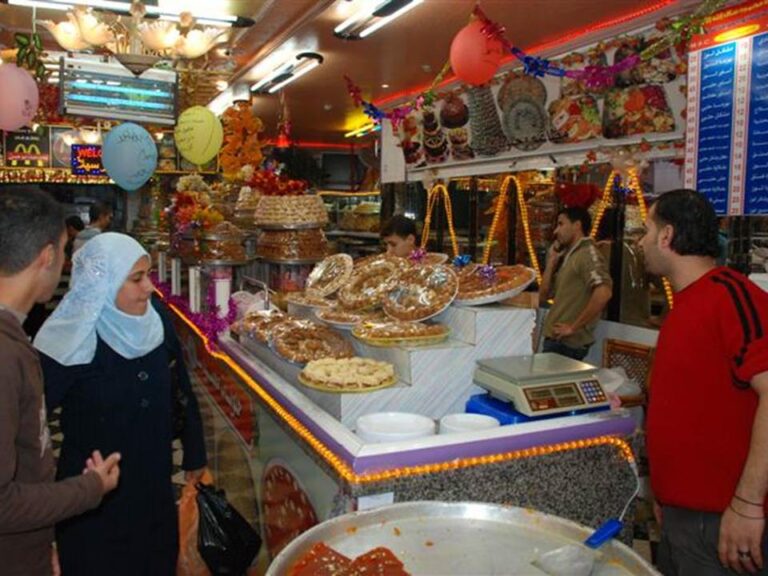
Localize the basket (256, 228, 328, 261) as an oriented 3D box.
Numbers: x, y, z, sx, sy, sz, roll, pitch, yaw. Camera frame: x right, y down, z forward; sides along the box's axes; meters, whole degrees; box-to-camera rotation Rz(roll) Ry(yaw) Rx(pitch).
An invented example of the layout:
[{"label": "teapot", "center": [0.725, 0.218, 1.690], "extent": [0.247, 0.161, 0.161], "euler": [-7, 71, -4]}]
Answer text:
[{"label": "basket", "center": [-0.863, -0.395, 4.848], "extent": [0.438, 0.181, 0.403], "euler": [2, 4, 22]}]

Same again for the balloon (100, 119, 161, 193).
[{"label": "balloon", "center": [-2.664, -1.384, 5.668], "extent": [0.596, 0.665, 0.576], "euler": [0, 3, -20]}]

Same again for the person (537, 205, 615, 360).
[{"label": "person", "center": [1.617, -0.043, 4.415], "extent": [0.492, 1.266, 0.619], "euler": [0, 9, 7]}]

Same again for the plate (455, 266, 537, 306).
[{"label": "plate", "center": [0.580, -0.024, 2.787], "extent": [0.409, 0.183, 0.431], "euler": [2, 8, 22]}]

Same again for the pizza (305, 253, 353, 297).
[{"label": "pizza", "center": [-0.357, -0.094, 3.709], "extent": [0.350, 0.088, 0.323], "euler": [-19, 37, 35]}]

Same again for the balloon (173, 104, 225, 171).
[{"label": "balloon", "center": [-2.085, -1.728, 6.101], "extent": [0.562, 0.639, 0.536], "euler": [10, 13, 8]}]

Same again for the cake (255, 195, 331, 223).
[{"label": "cake", "center": [-0.852, -0.710, 4.837], "extent": [0.656, 0.287, 0.377], "euler": [-2, 8, -9]}]

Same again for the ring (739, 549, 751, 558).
[{"label": "ring", "center": [1.140, 0.834, 1.661], "extent": [0.025, 0.013, 0.023], "euler": [-1, -1, 0]}]

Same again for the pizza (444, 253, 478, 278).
[{"label": "pizza", "center": [0.468, -0.094, 3.098], "extent": [0.216, 0.078, 0.197], "euler": [-3, 24, 2]}]

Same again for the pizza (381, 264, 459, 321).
[{"label": "pizza", "center": [0.181, 0.019, 2.810], "extent": [0.347, 0.259, 0.467], "euler": [-2, 8, -8]}]

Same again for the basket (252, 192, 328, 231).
[{"label": "basket", "center": [-0.855, -0.707, 4.839], "extent": [0.658, 0.321, 0.380], "euler": [-2, 8, -8]}]

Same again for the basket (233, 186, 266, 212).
[{"label": "basket", "center": [-1.506, -0.989, 5.939], "extent": [0.373, 0.324, 0.363], "euler": [1, 3, -8]}]

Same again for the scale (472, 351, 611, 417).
[{"label": "scale", "center": [0.670, 0.408, 2.296], "extent": [0.477, 0.181, 0.371], "euler": [-4, 8, -22]}]

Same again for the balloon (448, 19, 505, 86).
[{"label": "balloon", "center": [0.652, -1.689, 3.715], "extent": [0.344, 0.399, 0.330], "euler": [1, 9, 12]}]

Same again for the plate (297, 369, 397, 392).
[{"label": "plate", "center": [-0.169, 0.424, 2.353], "extent": [0.452, 0.050, 0.200], "euler": [0, 8, 4]}]

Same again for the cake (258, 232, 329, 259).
[{"label": "cake", "center": [-0.854, -0.396, 4.827], "extent": [0.407, 0.168, 0.369], "euler": [1, 5, 9]}]

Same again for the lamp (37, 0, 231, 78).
[{"label": "lamp", "center": [-2.473, -2.500, 5.260], "extent": [1.201, 0.474, 1.107], "euler": [2, 9, 1]}]

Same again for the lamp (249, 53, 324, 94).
[{"label": "lamp", "center": [-1.304, -2.856, 6.976], "extent": [0.238, 0.094, 1.016], "euler": [11, -3, -31]}]

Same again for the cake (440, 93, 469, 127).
[{"label": "cake", "center": [0.870, -2.188, 6.508], "extent": [0.389, 0.347, 0.175], "euler": [15, 22, 38]}]
